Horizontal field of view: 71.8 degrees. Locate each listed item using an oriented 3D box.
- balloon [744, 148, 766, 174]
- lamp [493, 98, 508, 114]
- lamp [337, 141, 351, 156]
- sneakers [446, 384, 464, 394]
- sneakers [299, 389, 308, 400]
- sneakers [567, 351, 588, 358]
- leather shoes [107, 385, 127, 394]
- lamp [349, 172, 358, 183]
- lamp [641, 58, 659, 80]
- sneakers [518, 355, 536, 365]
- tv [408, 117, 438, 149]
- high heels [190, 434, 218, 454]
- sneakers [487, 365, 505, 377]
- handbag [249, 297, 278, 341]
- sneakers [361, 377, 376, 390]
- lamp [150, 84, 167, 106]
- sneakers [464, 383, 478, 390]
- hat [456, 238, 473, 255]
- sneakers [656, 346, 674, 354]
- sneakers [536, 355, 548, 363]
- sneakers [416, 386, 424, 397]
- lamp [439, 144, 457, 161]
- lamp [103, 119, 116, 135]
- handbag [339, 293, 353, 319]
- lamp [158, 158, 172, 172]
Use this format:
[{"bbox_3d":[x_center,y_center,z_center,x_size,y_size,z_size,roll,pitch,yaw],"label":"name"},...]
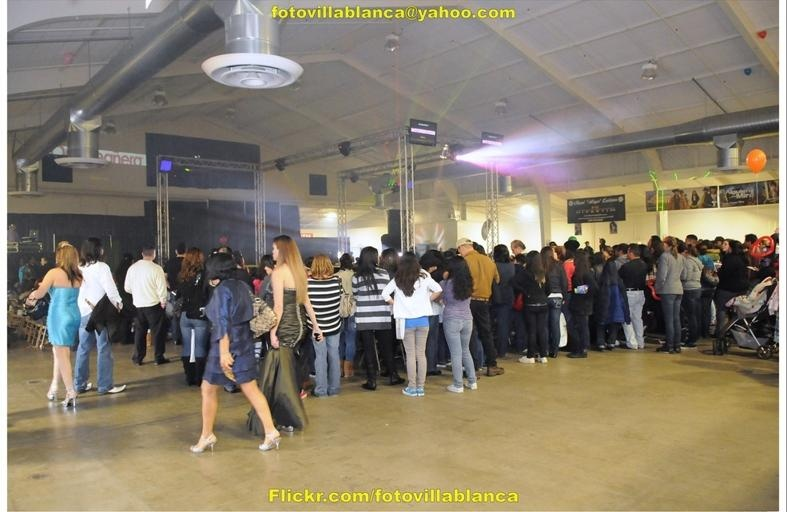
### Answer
[{"bbox_3d":[7.704,-2.002,11.498,0.262,0.454,0.485,8,13,41],"label":"balloon"},{"bbox_3d":[3.061,-4.193,15.235,0.338,0.388,0.557,2,10,14],"label":"lamp"},{"bbox_3d":[-1.492,-3.310,16.866,0.448,0.446,0.544,-2,10,-5],"label":"lamp"},{"bbox_3d":[0.904,1.916,7.911,0.103,0.093,0.231,1,2,-38],"label":"sneakers"},{"bbox_3d":[-1.268,1.931,7.633,0.123,0.120,0.318,0,-14,-12],"label":"sneakers"},{"bbox_3d":[3.263,1.719,9.615,0.345,0.135,0.133,2,-7,17],"label":"sneakers"},{"bbox_3d":[-4.056,1.969,8.008,0.077,0.098,0.235,30,30,33],"label":"leather shoes"},{"bbox_3d":[-1.352,-2.838,19.723,0.357,0.255,0.279,-4,4,-33],"label":"lamp"},{"bbox_3d":[6.016,-4.324,12.695,0.346,0.411,0.174,18,16,37],"label":"lamp"},{"bbox_3d":[2.281,1.767,9.304,0.112,0.110,0.272,1,2,-21],"label":"sneakers"},{"bbox_3d":[0.751,-3.194,14.076,0.905,0.639,0.396,-9,13,-41],"label":"tv"},{"bbox_3d":[-2.133,2.140,6.197,0.425,0.220,0.143,-14,2,26],"label":"high heels"},{"bbox_3d":[1.641,1.817,8.639,0.306,0.118,0.127,-4,2,-22],"label":"sneakers"},{"bbox_3d":[-1.493,0.722,6.339,0.278,0.533,0.414,-2,10,-6],"label":"handbag"},{"bbox_3d":[-0.335,1.896,8.112,0.105,0.163,0.247,-1,8,-31],"label":"sneakers"},{"bbox_3d":[-6.901,-4.702,16.043,0.460,0.486,1.112,-5,11,-21],"label":"lamp"},{"bbox_3d":[1.161,1.902,7.996,0.082,0.080,0.186,-1,1,-15],"label":"sneakers"},{"bbox_3d":[1.112,-0.138,8.527,0.333,0.217,0.511,-2,-3,-2],"label":"hat"},{"bbox_3d":[4.905,1.691,9.834,0.113,0.116,0.292,0,5,-29],"label":"sneakers"},{"bbox_3d":[2.549,1.753,9.255,0.086,0.101,0.243,-2,-12,-4],"label":"sneakers"},{"bbox_3d":[0.397,1.918,7.717,0.147,0.129,0.086,1,0,-38],"label":"sneakers"},{"bbox_3d":[1.742,-3.139,16.784,0.643,0.558,0.453,6,2,10],"label":"lamp"},{"bbox_3d":[-8.626,-3.922,16.474,0.335,0.422,0.499,-6,11,-29],"label":"lamp"},{"bbox_3d":[-0.698,0.729,8.016,0.200,0.399,0.423,-2,-3,5],"label":"handbag"},{"bbox_3d":[-6.318,-2.491,15.092,0.337,0.316,0.330,-5,11,-22],"label":"lamp"}]
